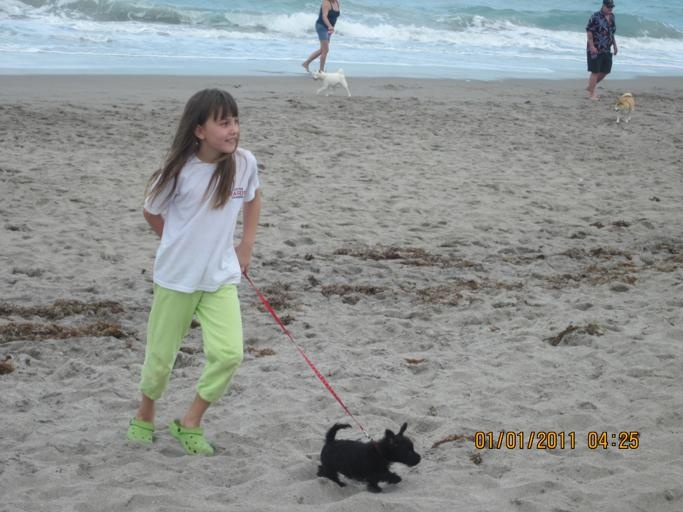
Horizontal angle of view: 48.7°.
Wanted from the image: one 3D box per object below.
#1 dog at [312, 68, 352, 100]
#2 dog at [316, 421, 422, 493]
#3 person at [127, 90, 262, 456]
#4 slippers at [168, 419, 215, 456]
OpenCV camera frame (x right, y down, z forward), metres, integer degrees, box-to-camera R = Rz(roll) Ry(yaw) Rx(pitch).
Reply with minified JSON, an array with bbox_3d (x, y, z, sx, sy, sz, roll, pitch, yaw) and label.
[{"bbox_3d":[-0.188,-4.070,17.679,0.868,0.663,1.278,3,11,-1],"label":"dog"},{"bbox_3d":[0.190,1.510,5.694,0.873,0.431,0.273,-1,-2,34],"label":"dog"},{"bbox_3d":[-1.141,0.145,5.793,0.960,2.818,0.645,2,14,-6],"label":"person"},{"bbox_3d":[-1.177,1.429,5.957,0.406,0.145,0.194,30,24,14],"label":"slippers"}]
